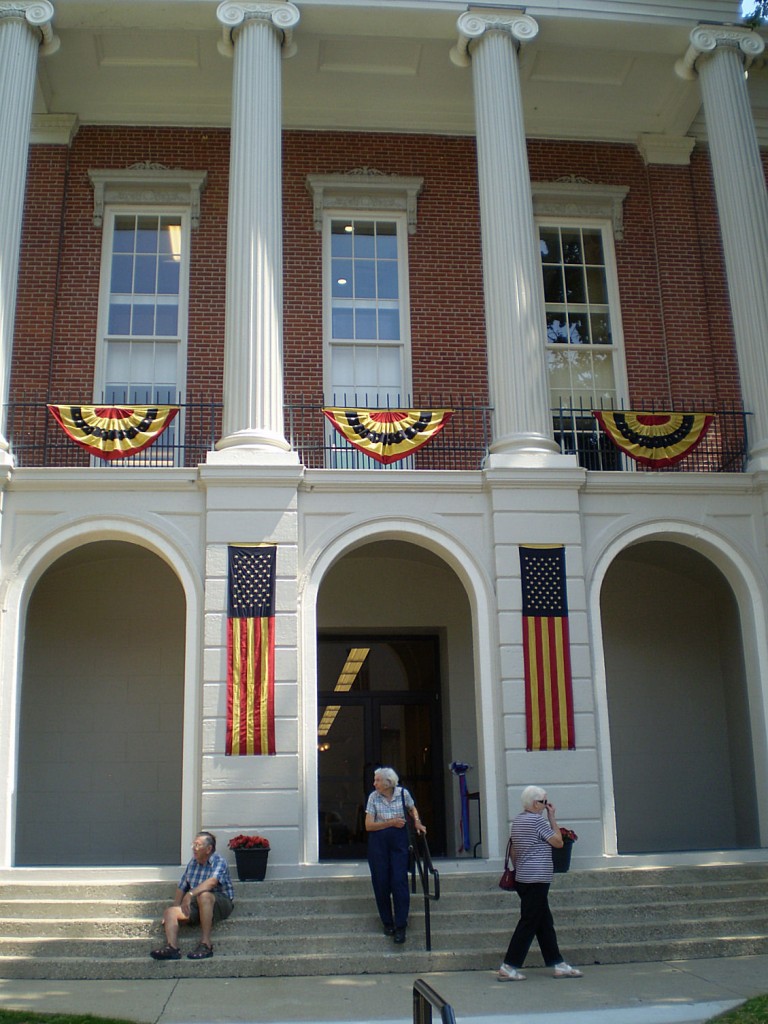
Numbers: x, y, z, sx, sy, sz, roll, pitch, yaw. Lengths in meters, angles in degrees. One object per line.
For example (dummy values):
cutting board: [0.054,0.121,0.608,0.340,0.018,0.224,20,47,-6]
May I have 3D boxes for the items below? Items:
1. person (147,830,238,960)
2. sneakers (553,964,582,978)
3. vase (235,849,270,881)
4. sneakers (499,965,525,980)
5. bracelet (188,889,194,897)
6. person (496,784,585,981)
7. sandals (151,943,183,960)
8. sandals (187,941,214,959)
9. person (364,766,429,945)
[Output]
person: [-1.581,3.189,8.194,0.561,0.892,0.768,-1,-14,-2]
sneakers: [1.384,3.521,7.548,0.271,0.118,0.090,1,-3,-1]
vase: [-1.208,3.366,9.387,0.405,0.301,0.239,10,-18,-40]
sneakers: [0.960,3.512,7.490,0.174,0.107,0.179,-3,-13,6]
bracelet: [-1.605,3.198,8.231,0.028,0.043,0.044,-3,-5,8]
person: [1.209,2.977,7.914,0.602,1.482,1.374,-4,-14,8]
sandals: [-1.707,3.502,7.798,0.257,0.109,0.088,9,-31,-3]
sandals: [-1.449,3.523,7.852,0.213,0.087,0.091,21,-26,-31]
person: [0.101,2.887,8.256,0.486,1.408,0.458,-3,-14,6]
